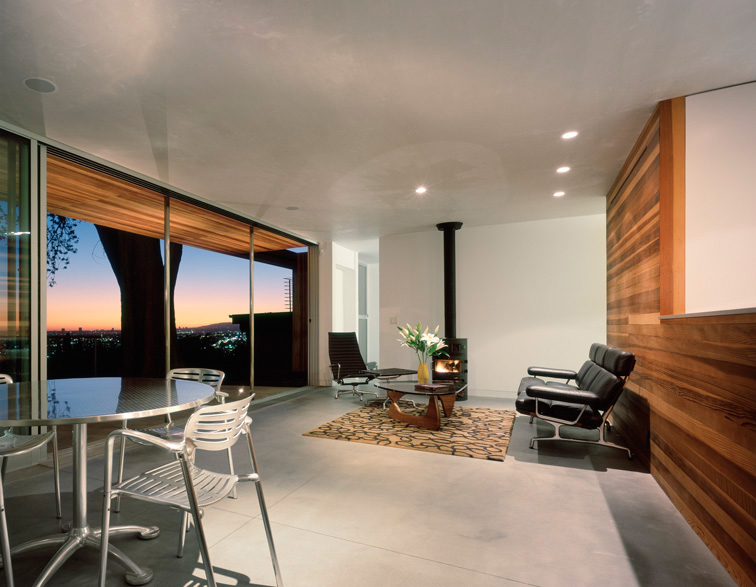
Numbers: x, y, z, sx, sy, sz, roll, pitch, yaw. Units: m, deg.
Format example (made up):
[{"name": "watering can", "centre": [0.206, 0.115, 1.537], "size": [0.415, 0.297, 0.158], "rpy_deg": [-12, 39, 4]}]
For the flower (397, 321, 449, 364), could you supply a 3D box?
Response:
[{"name": "flower", "centre": [0.530, 0.622, 5.850], "size": [0.534, 0.450, 0.439], "rpy_deg": [9, -23, -26]}]

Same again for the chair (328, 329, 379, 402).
[{"name": "chair", "centre": [-0.404, 1.132, 7.630], "size": [0.735, 1.092, 0.760], "rpy_deg": [-3, -5, -9]}]

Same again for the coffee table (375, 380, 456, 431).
[{"name": "coffee table", "centre": [0.502, 1.344, 5.811], "size": [0.976, 0.418, 1.181], "rpy_deg": [-5, -12, 27]}]

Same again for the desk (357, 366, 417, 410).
[{"name": "desk", "centre": [0.117, 1.323, 7.029], "size": [0.652, 0.512, 0.545], "rpy_deg": [-2, -4, 40]}]

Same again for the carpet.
[{"name": "carpet", "centre": [0.496, 1.486, 5.522], "size": [2.047, 0.154, 1.906], "rpy_deg": [-4, -4, 20]}]

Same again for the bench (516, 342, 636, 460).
[{"name": "bench", "centre": [2.051, 1.039, 5.127], "size": [1.045, 0.948, 1.730], "rpy_deg": [-1, -2, 19]}]
